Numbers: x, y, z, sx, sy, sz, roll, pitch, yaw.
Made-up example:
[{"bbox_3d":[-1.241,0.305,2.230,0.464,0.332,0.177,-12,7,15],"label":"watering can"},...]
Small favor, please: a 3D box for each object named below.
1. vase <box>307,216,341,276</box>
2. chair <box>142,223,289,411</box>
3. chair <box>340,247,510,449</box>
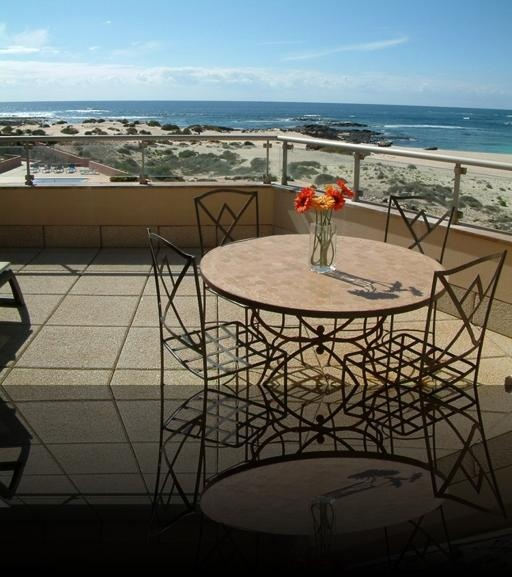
[{"bbox_3d":[0.303,-0.225,2.345,0.137,0.311,0.117,6,-9,-9],"label":"vase"},{"bbox_3d":[-0.239,0.188,2.834,0.731,1.071,0.620,-23,46,-23],"label":"chair"},{"bbox_3d":[0.825,0.313,2.508,0.542,0.904,0.584,-21,43,-16],"label":"chair"}]
